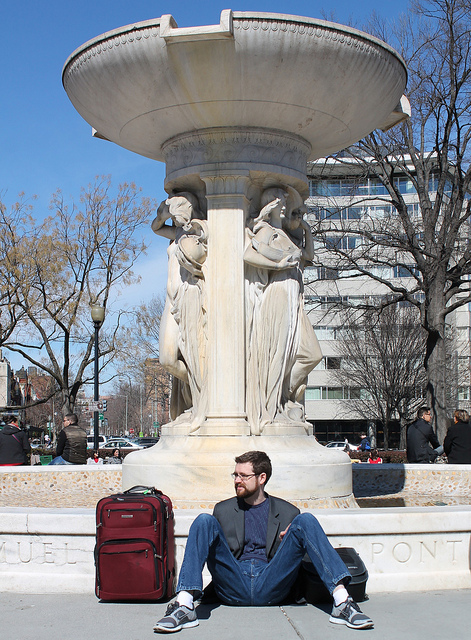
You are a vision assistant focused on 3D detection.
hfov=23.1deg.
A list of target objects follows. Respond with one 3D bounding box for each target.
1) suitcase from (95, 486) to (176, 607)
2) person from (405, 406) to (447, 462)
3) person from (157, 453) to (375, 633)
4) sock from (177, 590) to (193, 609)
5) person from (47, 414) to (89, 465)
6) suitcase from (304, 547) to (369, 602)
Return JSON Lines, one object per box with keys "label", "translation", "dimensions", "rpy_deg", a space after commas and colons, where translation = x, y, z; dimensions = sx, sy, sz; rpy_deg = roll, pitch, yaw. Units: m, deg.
{"label": "suitcase", "translation": [-0.706, 1.571, 7.990], "dimensions": [0.525, 0.852, 0.449], "rpy_deg": [-3, -3, 11]}
{"label": "person", "translation": [2.335, 1.415, 14.159], "dimensions": [0.442, 0.685, 0.934], "rpy_deg": [-2, -6, 9]}
{"label": "person", "translation": [0.129, 1.544, 7.757], "dimensions": [1.083, 0.896, 1.174], "rpy_deg": [0, -13, -5]}
{"label": "sock", "translation": [-0.315, 1.820, 7.451], "dimensions": [0.054, 0.075, 0.163], "rpy_deg": [-4, -24, 40]}
{"label": "person", "translation": [-2.162, 1.564, 15.073], "dimensions": [0.462, 0.682, 1.257], "rpy_deg": [-1, -6, -9]}
{"label": "suitcase", "translation": [0.696, 1.802, 7.968], "dimensions": [0.436, 0.369, 0.458], "rpy_deg": [-2, -5, 5]}
